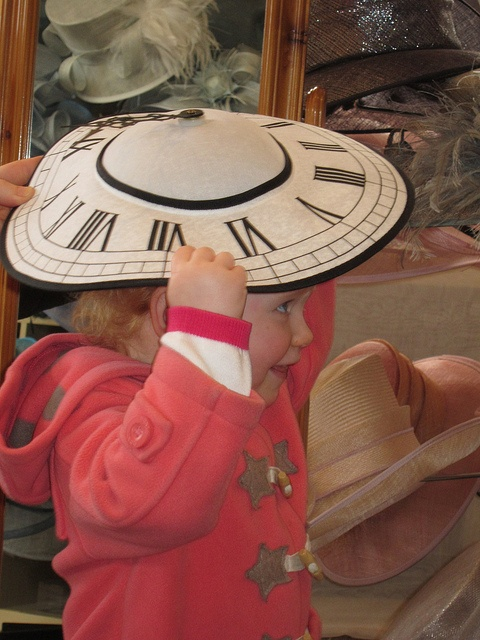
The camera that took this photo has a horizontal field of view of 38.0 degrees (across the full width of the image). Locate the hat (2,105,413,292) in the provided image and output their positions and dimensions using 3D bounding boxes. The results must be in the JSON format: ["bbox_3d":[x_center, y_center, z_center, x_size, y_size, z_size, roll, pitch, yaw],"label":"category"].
[{"bbox_3d":[-0.024,-0.109,0.573,0.326,0.111,0.258,4,23,5],"label":"hat"}]
